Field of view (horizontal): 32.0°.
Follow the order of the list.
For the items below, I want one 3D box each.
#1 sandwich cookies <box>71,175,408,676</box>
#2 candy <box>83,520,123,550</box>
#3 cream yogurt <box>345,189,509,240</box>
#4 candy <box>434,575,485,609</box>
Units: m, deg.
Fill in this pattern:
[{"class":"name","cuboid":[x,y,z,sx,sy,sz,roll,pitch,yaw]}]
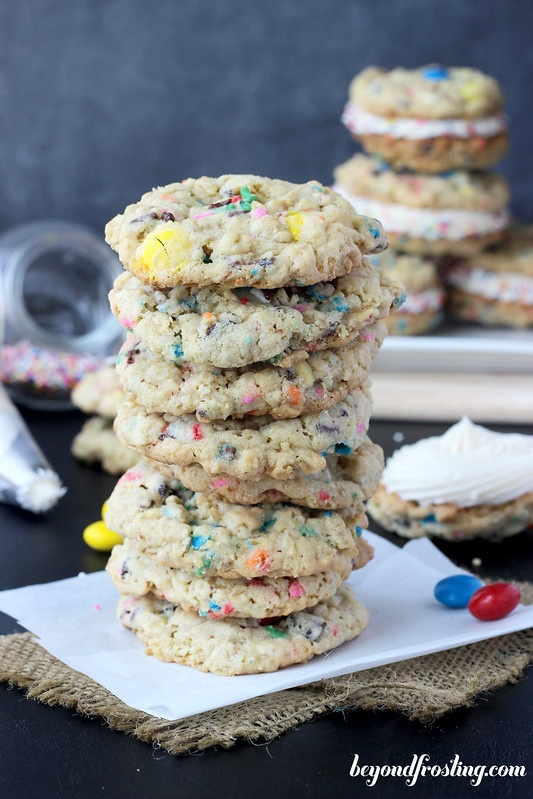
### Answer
[{"class":"sandwich cookies","cuboid":[-0.012,0.050,1.121,0.486,0.617,0.274,1,10,3]},{"class":"candy","cuboid":[-0.252,0.205,1.421,0.055,0.035,0.064,1,-4,-1]},{"class":"cream yogurt","cuboid":[0.317,-0.344,1.812,0.305,0.069,0.221,5,10,14]},{"class":"candy","cuboid":[0.249,0.244,1.199,0.040,0.029,0.054,-23,-7,36]}]
